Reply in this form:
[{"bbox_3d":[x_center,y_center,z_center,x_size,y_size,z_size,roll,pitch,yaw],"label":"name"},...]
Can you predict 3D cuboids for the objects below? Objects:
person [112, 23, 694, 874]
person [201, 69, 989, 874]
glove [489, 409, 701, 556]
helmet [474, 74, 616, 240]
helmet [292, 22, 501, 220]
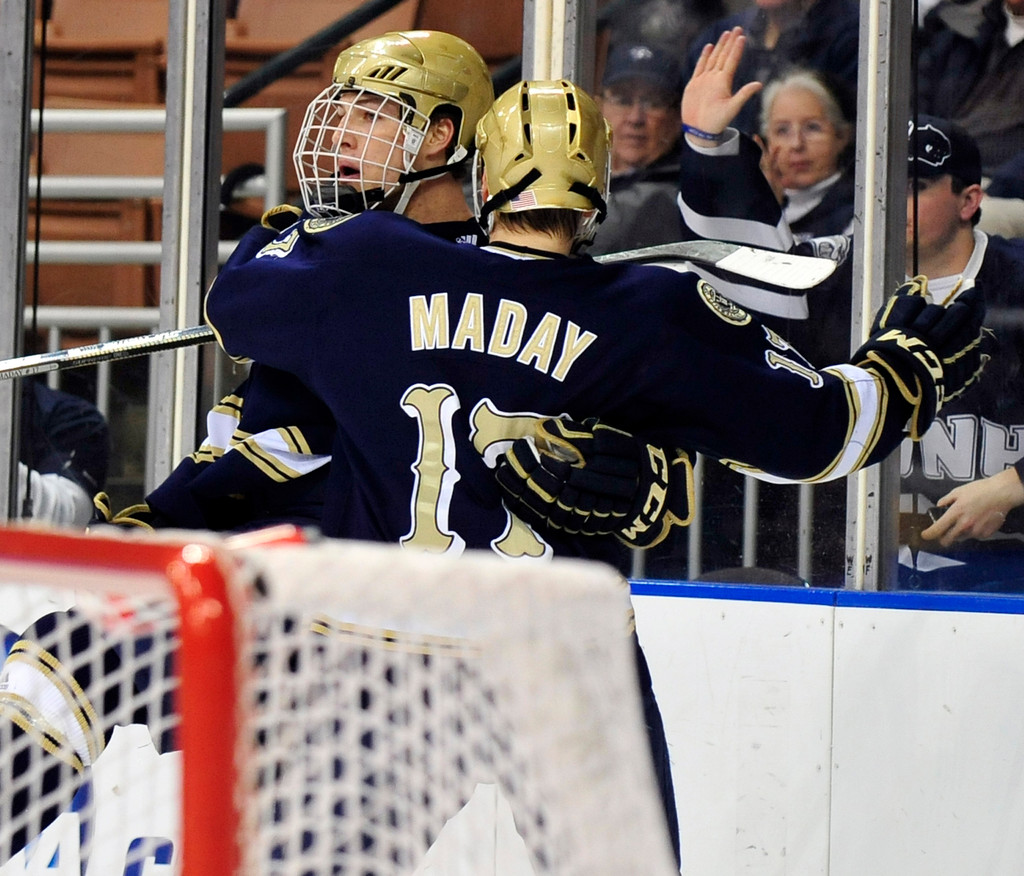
[{"bbox_3d":[-0.238,0.006,6.093,1.143,1.542,0.651,1,-7,-27],"label":"person"},{"bbox_3d":[0.114,-0.224,6.191,1.392,0.863,0.376,1,9,-7],"label":"person"},{"bbox_3d":[0.138,0.083,6.159,0.354,0.207,0.160,10,-2,-21],"label":"glove"},{"bbox_3d":[0.054,-0.522,6.267,0.243,0.294,0.282,-1,-34,0],"label":"helmet"},{"bbox_3d":[-0.234,-0.597,6.453,0.388,0.358,0.299,1,-2,-11],"label":"helmet"}]
